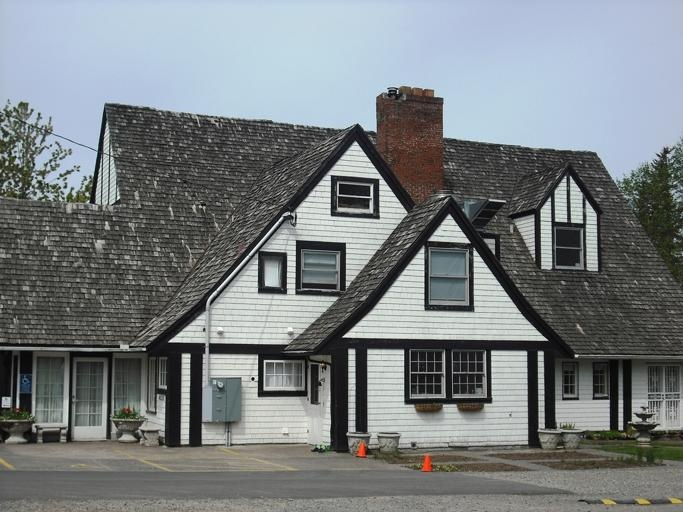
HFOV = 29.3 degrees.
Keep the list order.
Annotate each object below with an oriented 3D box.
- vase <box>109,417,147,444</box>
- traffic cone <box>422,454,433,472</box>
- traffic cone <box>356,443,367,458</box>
[{"bbox_3d":[-7.271,5.817,44.137,0.885,0.632,0.865,-1,-8,11],"label":"vase"},{"bbox_3d":[2.554,6.045,38.359,0.352,0.418,0.367,1,-5,-8],"label":"traffic cone"},{"bbox_3d":[0.612,6.023,40.846,0.408,0.498,0.349,3,5,-11],"label":"traffic cone"}]
